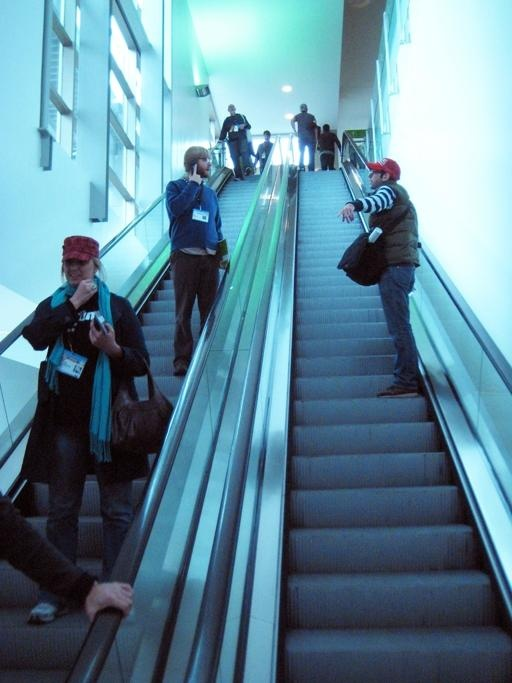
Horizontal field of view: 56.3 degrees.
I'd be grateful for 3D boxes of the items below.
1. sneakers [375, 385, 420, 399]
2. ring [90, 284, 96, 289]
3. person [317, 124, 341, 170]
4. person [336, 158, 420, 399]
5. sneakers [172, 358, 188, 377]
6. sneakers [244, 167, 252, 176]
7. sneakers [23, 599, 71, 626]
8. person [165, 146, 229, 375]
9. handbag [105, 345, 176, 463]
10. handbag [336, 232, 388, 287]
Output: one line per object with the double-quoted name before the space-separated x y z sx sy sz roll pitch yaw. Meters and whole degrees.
"sneakers" 0.917 0.328 3.087 0.247 0.067 0.091 -6 21 5
"ring" -0.661 -0.228 1.946 0.016 0.004 0.018 26 77 38
"person" 2.046 -5.492 13.384 0.580 1.203 1.941 -2 22 9
"person" 0.903 -0.543 3.506 0.573 1.417 1.339 1 21 18
"sneakers" -0.529 0.187 3.324 0.063 0.113 0.224 0 -3 0
"sneakers" -0.186 -4.437 12.405 0.130 0.235 0.204 8 11 -3
"sneakers" -0.725 0.936 1.643 0.050 0.057 0.127 -5 -24 7
"person" -0.455 -0.685 3.611 0.464 1.466 1.005 -6 18 -3
"handbag" -0.434 0.282 1.830 0.225 0.260 0.215 -10 19 -9
"handbag" 0.808 -0.597 3.554 0.344 0.365 0.155 -41 -10 14
